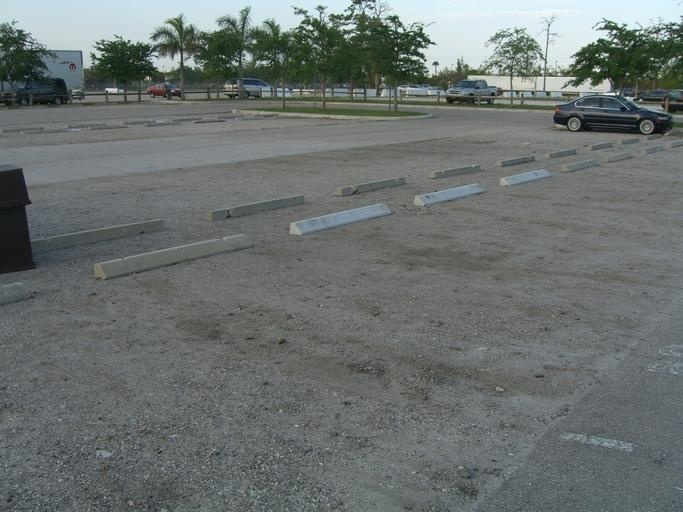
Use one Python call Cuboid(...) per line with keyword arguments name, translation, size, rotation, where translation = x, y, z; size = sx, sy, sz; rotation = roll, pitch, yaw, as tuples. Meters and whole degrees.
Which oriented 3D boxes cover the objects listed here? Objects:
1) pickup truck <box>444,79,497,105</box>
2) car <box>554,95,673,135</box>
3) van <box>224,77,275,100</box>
Cuboid(name="pickup truck", translation=(15.052, -18.683, 52.060), size=(5.940, 2.626, 2.670), rotation=(-7, 19, -17))
Cuboid(name="car", translation=(15.516, -8.027, 26.035), size=(5.395, 2.148, 1.567), rotation=(12, 23, 35))
Cuboid(name="van", translation=(-12.246, -22.859, 61.299), size=(8.227, 2.553, 3.520), rotation=(-13, 23, -36))
